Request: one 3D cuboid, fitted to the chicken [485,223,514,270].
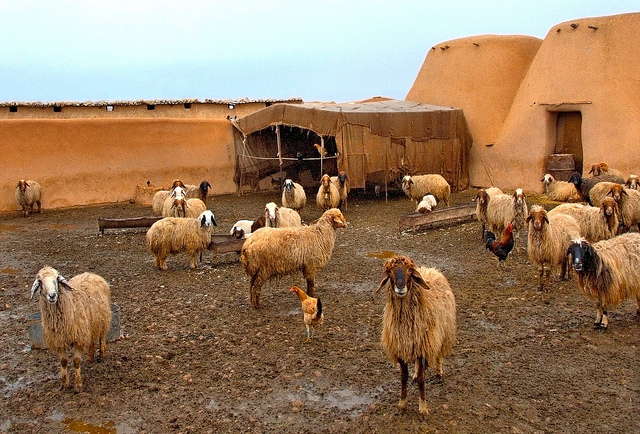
[{"bbox_3d":[4.170,0.639,14.206,0.555,1.020,0.953,-2,8,6],"label":"chicken"}]

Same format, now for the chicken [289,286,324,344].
[{"bbox_3d":[-0.198,1.796,11.436,0.509,0.912,0.712,-4,8,-13],"label":"chicken"}]

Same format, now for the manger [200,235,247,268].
[{"bbox_3d":[-2.407,0.823,15.184,0.835,0.668,1.150,-8,9,-32],"label":"manger"}]

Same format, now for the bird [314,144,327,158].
[{"bbox_3d":[0.093,-2.665,24.235,0.613,0.333,0.464,18,0,-11],"label":"bird"}]

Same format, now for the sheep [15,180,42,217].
[{"bbox_3d":[-10.610,-0.688,22.332,0.728,1.314,1.939,-1,8,-12],"label":"sheep"}]

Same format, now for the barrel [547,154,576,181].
[{"bbox_3d":[9.157,-1.885,23.365,0.942,1.029,0.960,0,2,-2],"label":"barrel"}]

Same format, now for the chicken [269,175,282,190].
[{"bbox_3d":[-2.055,-1.585,28.611,0.394,0.574,0.502,-2,6,-5],"label":"chicken"}]

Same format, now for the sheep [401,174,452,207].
[{"bbox_3d":[3.594,-0.883,20.762,1.761,1.061,0.862,4,9,44],"label":"sheep"}]

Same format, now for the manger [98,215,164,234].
[{"bbox_3d":[-5.530,0.229,17.931,1.695,0.515,0.462,-2,5,-7],"label":"manger"}]

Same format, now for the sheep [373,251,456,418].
[{"bbox_3d":[1.599,1.817,9.850,1.177,2.490,0.737,-8,10,-35],"label":"sheep"}]

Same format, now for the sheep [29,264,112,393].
[{"bbox_3d":[-4.368,1.856,10.863,0.991,2.080,2.366,-2,5,0],"label":"sheep"}]
